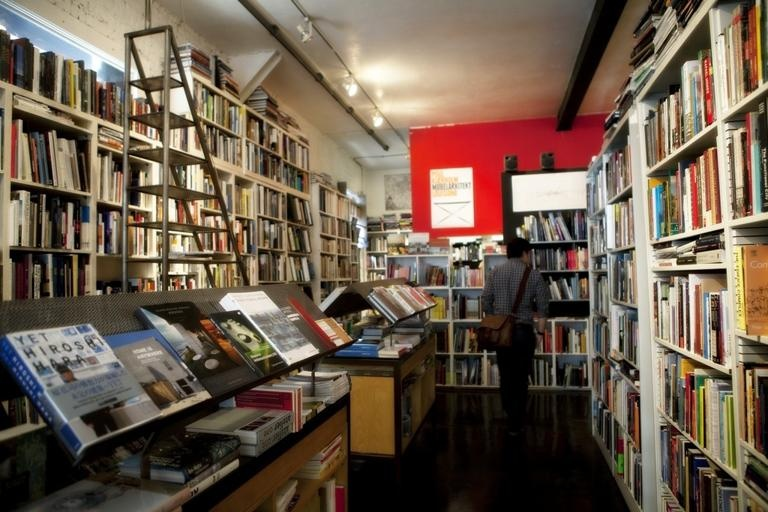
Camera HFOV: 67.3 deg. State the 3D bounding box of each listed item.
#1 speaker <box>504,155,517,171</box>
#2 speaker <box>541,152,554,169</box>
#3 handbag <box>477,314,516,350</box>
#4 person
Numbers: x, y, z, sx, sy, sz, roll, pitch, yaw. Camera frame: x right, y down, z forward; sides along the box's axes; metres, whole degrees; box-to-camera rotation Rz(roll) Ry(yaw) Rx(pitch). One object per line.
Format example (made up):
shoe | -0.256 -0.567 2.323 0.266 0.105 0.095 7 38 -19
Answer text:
speaker | 1.689 -1.221 7.640 0.149 0.228 0.198 0 2 18
speaker | 2.136 -1.228 7.505 0.152 0.212 0.117 -1 2 2
handbag | 1.030 0.705 5.294 0.315 0.335 0.208 0 2 16
person | 1.165 0.757 5.494 0.711 1.844 0.526 -2 2 -34
